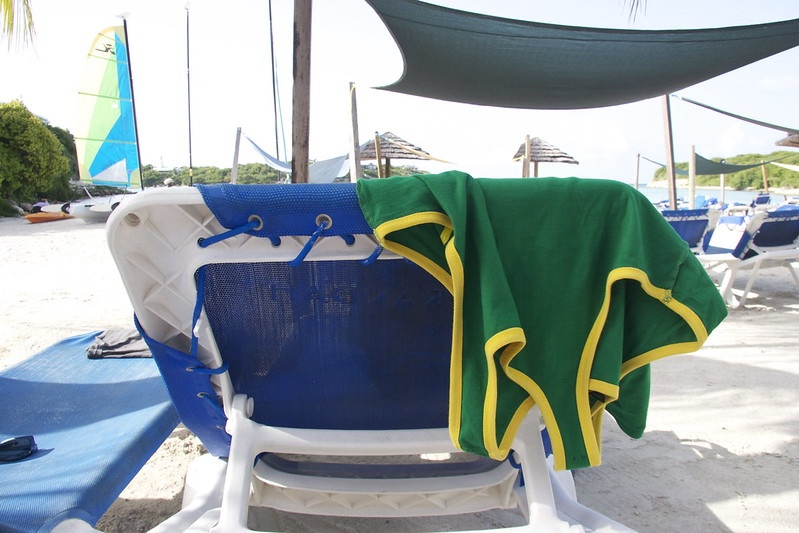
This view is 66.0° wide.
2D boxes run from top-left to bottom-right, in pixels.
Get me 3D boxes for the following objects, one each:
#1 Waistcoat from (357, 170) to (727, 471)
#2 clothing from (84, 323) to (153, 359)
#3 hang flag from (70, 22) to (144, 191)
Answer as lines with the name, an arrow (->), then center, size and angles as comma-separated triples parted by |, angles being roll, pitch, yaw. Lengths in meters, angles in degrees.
Waistcoat -> 1.072, 0.415, 4.802 | 2.909, 2.148, 0.620 | 3, -3, -4
clothing -> -2.725, 0.776, 5.970 | 0.487, 0.083, 0.489 | 1, 22, -15
hang flag -> -11.006, -5.752, 22.803 | 2.068, 5.766, 2.229 | -7, 14, -26
